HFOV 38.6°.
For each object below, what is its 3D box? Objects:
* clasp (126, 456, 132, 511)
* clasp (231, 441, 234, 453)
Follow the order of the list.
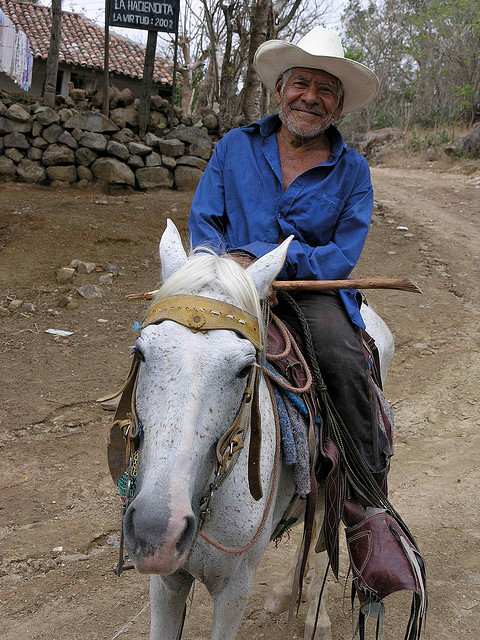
[{"bbox_3d":[-0.357,0.518,2.194,0.012,0.166,0.063,3,13,-10],"label":"clasp"},{"bbox_3d":[-0.028,0.398,2.146,0.006,0.035,0.012,9,13,14],"label":"clasp"}]
